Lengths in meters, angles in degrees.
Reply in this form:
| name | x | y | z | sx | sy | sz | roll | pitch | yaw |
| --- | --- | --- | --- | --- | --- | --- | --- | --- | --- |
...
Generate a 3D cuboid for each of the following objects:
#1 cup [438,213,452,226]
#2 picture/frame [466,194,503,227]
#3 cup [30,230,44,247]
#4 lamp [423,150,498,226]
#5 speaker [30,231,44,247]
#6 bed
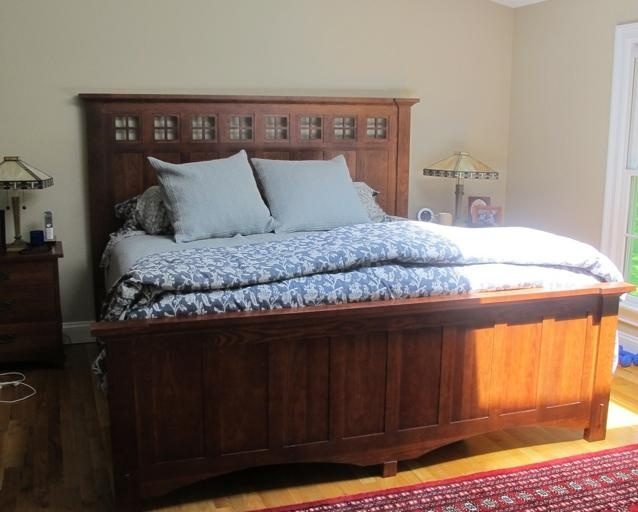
| name | x | y | z | sx | sy | sz | roll | pitch | yaw |
| --- | --- | --- | --- | --- | --- | --- | --- | --- | --- |
| cup | 0.947 | -0.273 | 4.159 | 0.131 | 0.093 | 0.072 | -4 | 12 | -14 |
| picture/frame | 1.187 | -0.334 | 4.124 | 0.223 | 0.085 | 0.259 | 0 | 21 | -2 |
| cup | -1.697 | -0.106 | 3.353 | 0.105 | 0.097 | 0.096 | 2 | 8 | 0 |
| lamp | 1.054 | -0.497 | 4.130 | 0.643 | 0.513 | 0.581 | 3 | 7 | 19 |
| speaker | -1.696 | -0.104 | 3.407 | 0.104 | 0.097 | 0.094 | 1 | 8 | -6 |
| bed | -0.170 | 0.202 | 3.286 | 2.693 | 1.640 | 2.349 | -3 | 8 | -18 |
